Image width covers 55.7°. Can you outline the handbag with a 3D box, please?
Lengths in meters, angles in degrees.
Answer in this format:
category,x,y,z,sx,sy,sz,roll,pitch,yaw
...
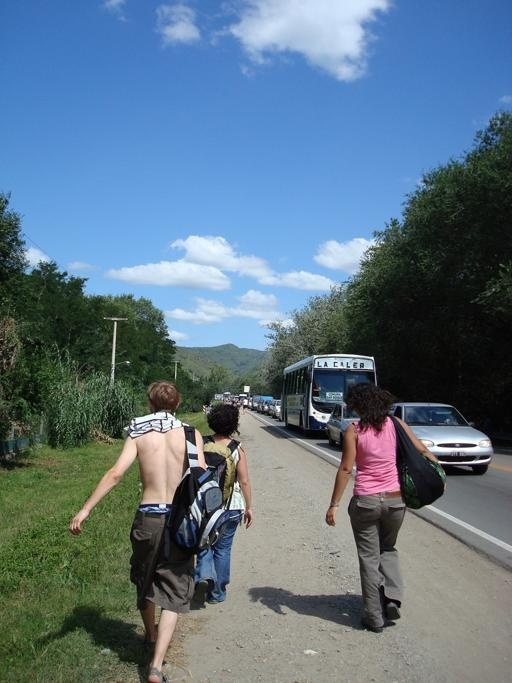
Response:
category,x,y,z,sx,sy,sz,roll,pitch,yaw
handbag,1.131,0.869,3.429,0.251,0.622,0.338,-7,-25,-5

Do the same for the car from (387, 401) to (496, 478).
category,x,y,z,sx,sy,sz,roll,pitch,yaw
car,4.882,2.895,13.368,1.992,1.750,4.234,1,-14,4

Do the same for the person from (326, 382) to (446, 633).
category,x,y,z,sx,sy,sz,roll,pitch,yaw
person,0.887,1.125,3.354,0.756,1.658,0.368,0,-2,-7
